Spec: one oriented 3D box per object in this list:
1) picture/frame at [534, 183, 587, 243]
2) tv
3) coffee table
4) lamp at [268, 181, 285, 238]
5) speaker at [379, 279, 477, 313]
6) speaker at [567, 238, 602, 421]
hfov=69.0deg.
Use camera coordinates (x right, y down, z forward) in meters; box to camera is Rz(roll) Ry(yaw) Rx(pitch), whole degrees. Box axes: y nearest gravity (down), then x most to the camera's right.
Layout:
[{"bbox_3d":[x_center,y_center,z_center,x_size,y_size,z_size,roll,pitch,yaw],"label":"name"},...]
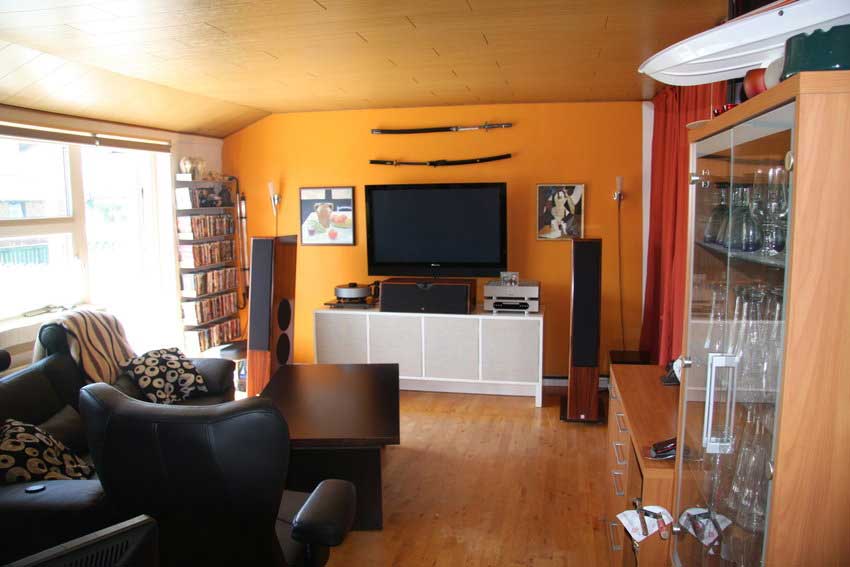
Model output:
[{"bbox_3d":[1.342,-0.719,6.015,0.677,0.760,0.056,1,6,13],"label":"picture/frame"},{"bbox_3d":[0.105,-0.530,5.964,1.344,0.879,0.124,2,13,14],"label":"tv"},{"bbox_3d":[-0.531,0.855,3.845,0.901,0.547,1.327,-2,16,-6],"label":"coffee table"},{"bbox_3d":[-1.616,-0.829,6.678,0.155,0.577,0.143,-1,13,-1],"label":"lamp"},{"bbox_3d":[0.013,0.108,5.948,0.903,0.286,0.277,1,13,11],"label":"speaker"},{"bbox_3d":[1.368,0.386,5.231,0.294,1.520,0.440,3,13,15],"label":"speaker"}]
